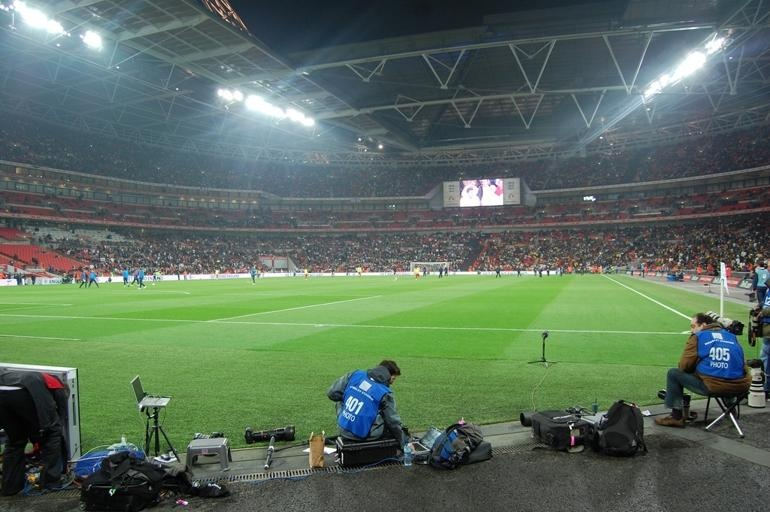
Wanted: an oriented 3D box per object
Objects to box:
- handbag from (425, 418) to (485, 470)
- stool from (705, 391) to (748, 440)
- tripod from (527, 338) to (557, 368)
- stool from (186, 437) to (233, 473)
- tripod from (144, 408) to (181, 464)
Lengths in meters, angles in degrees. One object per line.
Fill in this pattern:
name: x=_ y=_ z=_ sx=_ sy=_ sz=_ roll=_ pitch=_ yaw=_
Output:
handbag: x=1.774 y=4.607 z=13.546 sx=1.498 sy=0.926 sz=0.525 roll=-3 pitch=13 yaw=-9
stool: x=8.757 y=4.160 z=14.553 sx=1.164 sy=1.023 sz=0.975 roll=-3 pitch=-2 yaw=2
tripod: x=5.171 y=3.253 z=18.422 sx=0.967 sy=0.753 sz=0.860 roll=0 pitch=-7 yaw=2
stool: x=-4.247 y=4.840 z=13.608 sx=0.868 sy=0.405 sz=0.812 roll=-2 pitch=-2 yaw=3
tripod: x=-5.603 y=4.605 z=14.102 sx=1.235 sy=1.340 sz=0.966 roll=0 pitch=-1 yaw=5
